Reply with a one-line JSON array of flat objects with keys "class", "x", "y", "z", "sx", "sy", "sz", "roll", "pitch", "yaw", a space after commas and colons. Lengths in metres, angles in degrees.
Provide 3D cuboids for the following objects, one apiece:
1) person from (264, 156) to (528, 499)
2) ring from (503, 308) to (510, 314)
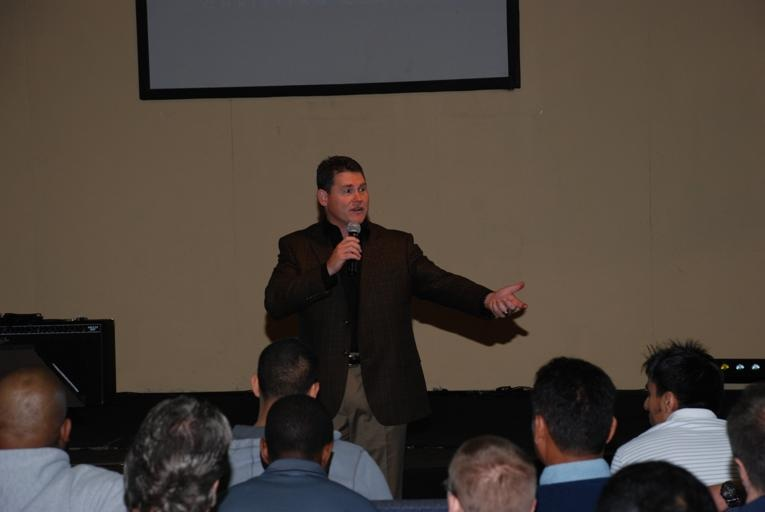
[{"class": "person", "x": 0.077, "y": 0.645, "z": 3.910, "sx": 1.258, "sy": 2.366, "sz": 0.627, "roll": -1, "pitch": 4, "yaw": 18}, {"class": "ring", "x": 0.647, "y": 0.283, "z": 3.753, "sx": 0.029, "sy": 0.012, "sz": 0.031, "roll": 0, "pitch": -16, "yaw": 0}]
